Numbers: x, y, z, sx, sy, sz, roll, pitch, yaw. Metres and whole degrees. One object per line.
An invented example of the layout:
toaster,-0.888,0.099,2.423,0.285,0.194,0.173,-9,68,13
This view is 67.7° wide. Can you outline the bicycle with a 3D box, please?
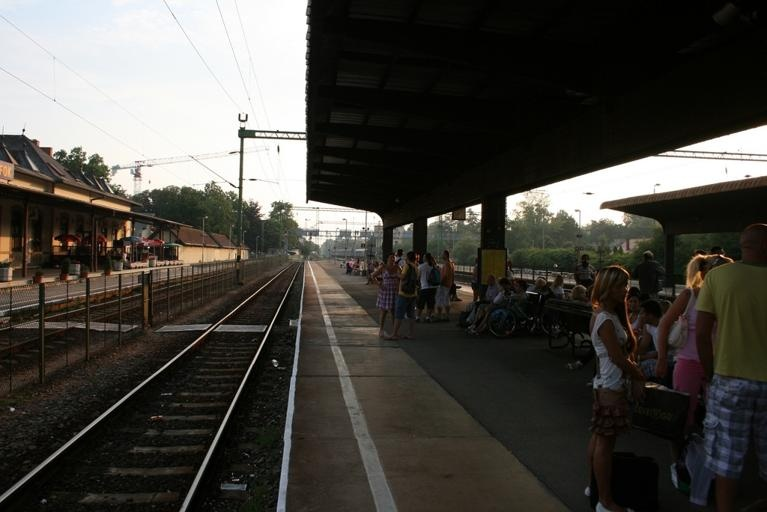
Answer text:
bicycle,3.676,1.502,14.699,1.657,1.288,1.050,3,-6,-16
